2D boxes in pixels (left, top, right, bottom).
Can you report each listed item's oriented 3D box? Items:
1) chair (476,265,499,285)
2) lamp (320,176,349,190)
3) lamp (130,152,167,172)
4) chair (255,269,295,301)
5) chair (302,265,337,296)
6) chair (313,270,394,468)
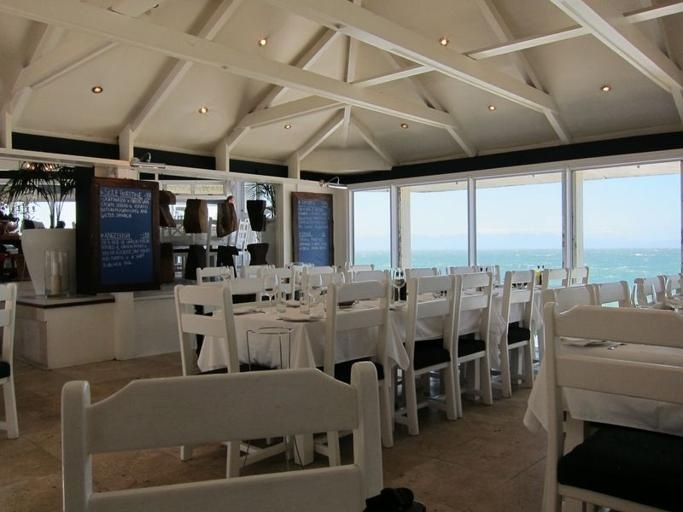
[{"bbox_3d":[1.360,0.178,4.851,0.196,0.250,0.176,-1,4,-30],"label":"chair"},{"bbox_3d":[-0.158,-1.280,9.062,0.586,0.271,0.445,-2,1,-24],"label":"lamp"},{"bbox_3d":[-2.301,-1.080,6.193,0.366,0.245,0.384,2,-2,20],"label":"lamp"},{"bbox_3d":[-0.533,0.228,4.254,0.290,0.393,0.242,2,-3,-39],"label":"chair"},{"bbox_3d":[-0.159,0.191,3.489,0.224,0.161,0.158,-4,9,-34],"label":"chair"},{"bbox_3d":[0.127,0.676,3.325,0.529,0.717,0.515,-14,18,-31],"label":"chair"}]
